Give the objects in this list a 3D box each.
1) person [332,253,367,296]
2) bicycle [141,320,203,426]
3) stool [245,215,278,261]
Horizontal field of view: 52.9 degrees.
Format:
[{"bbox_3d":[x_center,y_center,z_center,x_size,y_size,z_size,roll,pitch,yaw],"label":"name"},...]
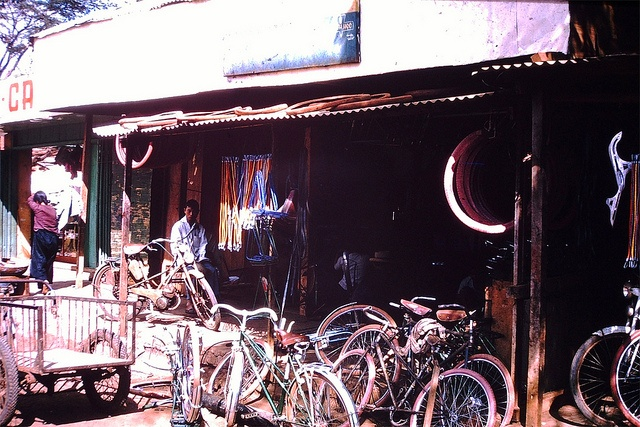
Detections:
[{"bbox_3d":[0.512,1.073,12.126,0.577,0.864,0.321,3,3,-27],"label":"person"},{"bbox_3d":[-1.870,2.221,8.951,0.342,1.382,0.819,6,-7,-38],"label":"bicycle"},{"bbox_3d":[-1.175,0.514,12.929,0.671,1.058,0.676,8,14,16],"label":"stool"}]
